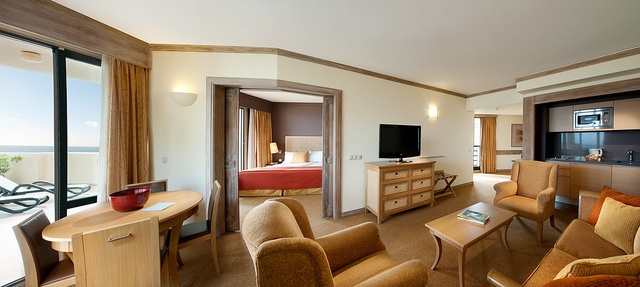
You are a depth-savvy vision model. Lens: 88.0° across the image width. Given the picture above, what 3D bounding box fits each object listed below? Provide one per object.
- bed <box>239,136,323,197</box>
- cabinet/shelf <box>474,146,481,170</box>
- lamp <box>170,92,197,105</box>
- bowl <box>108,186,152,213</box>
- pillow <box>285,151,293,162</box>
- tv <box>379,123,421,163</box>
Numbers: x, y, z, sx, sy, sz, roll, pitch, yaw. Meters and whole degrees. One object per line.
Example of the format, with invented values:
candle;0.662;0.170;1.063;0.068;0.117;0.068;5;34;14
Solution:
bed;-0.824;0.659;10.592;2.423;1.173;2.352;-3;-6;37
cabinet/shelf;6.017;0.523;12.564;0.258;0.887;0.182;0;3;40
lamp;-3.281;-1.062;7.975;0.450;0.196;0.400;1;2;21
bowl;-4.113;1.185;7.138;0.722;0.273;0.633;-3;-6;12
pillow;-1.096;0.456;11.523;0.381;0.282;0.100;1;-3;5
tv;2.154;-0.029;9.031;1.506;0.793;0.371;0;3;-19
